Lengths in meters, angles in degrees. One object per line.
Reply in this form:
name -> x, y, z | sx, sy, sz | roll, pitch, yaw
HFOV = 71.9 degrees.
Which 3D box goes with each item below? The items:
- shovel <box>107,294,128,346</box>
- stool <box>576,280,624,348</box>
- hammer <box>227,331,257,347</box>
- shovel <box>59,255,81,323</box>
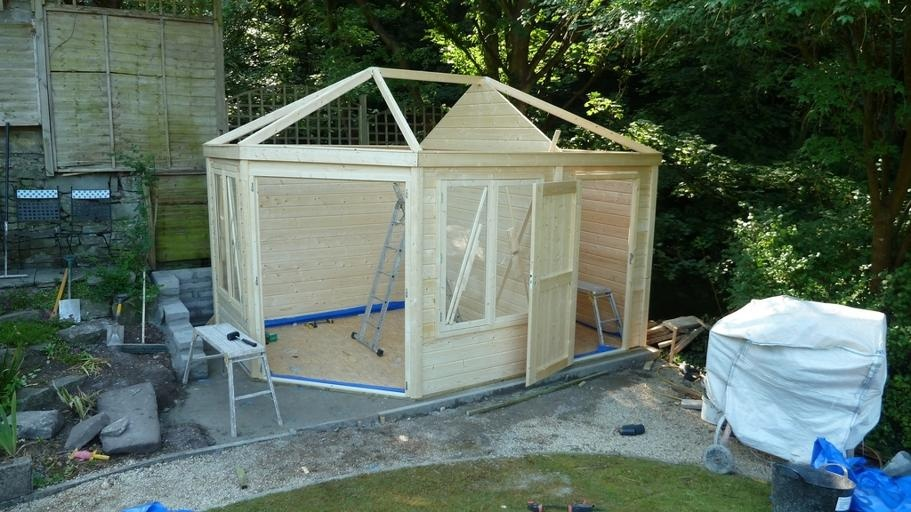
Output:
shovel -> -6.272, 1.162, 11.675 | 0.334, 0.651, 1.273 | -4, 13, -26
stool -> 2.802, 1.061, 12.242 | 0.926, 1.150, 1.020 | 5, 13, 9
hammer -> -3.392, 1.320, 9.992 | 0.450, 0.102, 0.238 | 17, 12, 25
shovel -> -7.385, 0.679, 12.078 | 0.507, 1.491, 0.190 | -12, -10, 24
